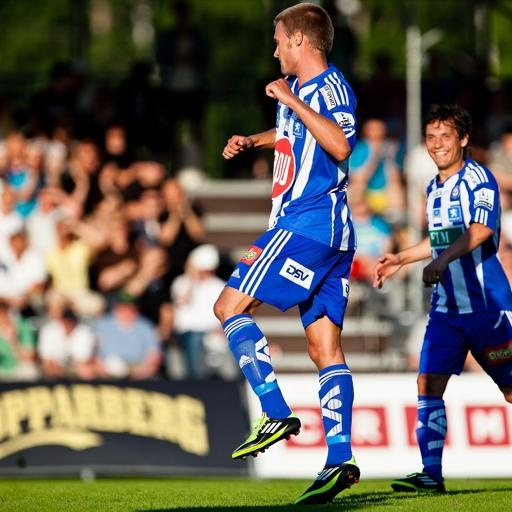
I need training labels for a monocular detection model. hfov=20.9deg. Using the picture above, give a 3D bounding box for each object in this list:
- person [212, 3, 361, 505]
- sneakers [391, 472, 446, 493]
[{"bbox_3d":[0.233,-0.020,8.319,0.905,2.938,0.614,-6,1,4],"label":"person"},{"bbox_3d":[1.015,1.431,8.679,0.330,0.144,0.126,2,-10,0],"label":"sneakers"}]
